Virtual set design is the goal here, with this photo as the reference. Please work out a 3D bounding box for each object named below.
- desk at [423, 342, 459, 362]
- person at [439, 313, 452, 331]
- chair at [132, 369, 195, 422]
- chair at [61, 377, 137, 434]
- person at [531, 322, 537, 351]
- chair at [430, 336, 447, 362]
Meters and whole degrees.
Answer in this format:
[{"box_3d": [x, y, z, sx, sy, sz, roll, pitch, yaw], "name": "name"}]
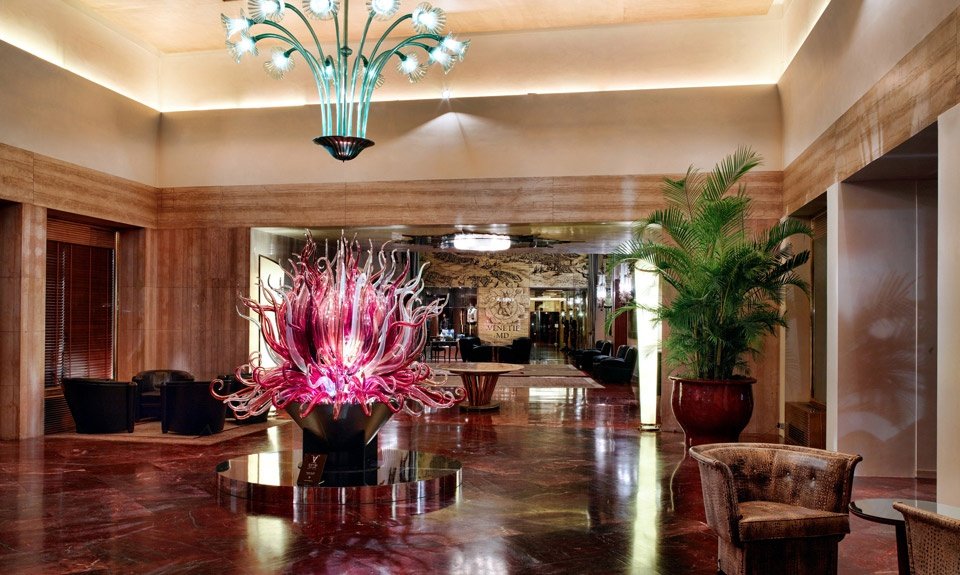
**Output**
[{"box_3d": [-1.457, 2.366, 23.120, 0.901, 0.765, 0.913, -4, -6, 44], "name": "desk"}, {"box_3d": [-1.318, 1.346, 24.477, 0.639, 0.716, 0.592, 0, 3, -2], "name": "person"}, {"box_3d": [-5.721, 1.998, 11.679, 1.131, 0.895, 1.003, 2, -8, -13], "name": "chair"}, {"box_3d": [-6.409, 1.941, 10.711, 1.090, 0.841, 1.038, -1, 1, -36], "name": "chair"}, {"box_3d": [2.104, 1.880, 24.330, 0.294, 0.974, 0.123, -1, -7, 5], "name": "person"}, {"box_3d": [-1.550, 2.247, 22.976, 0.783, 0.979, 0.686, 1, -4, 0], "name": "chair"}]
